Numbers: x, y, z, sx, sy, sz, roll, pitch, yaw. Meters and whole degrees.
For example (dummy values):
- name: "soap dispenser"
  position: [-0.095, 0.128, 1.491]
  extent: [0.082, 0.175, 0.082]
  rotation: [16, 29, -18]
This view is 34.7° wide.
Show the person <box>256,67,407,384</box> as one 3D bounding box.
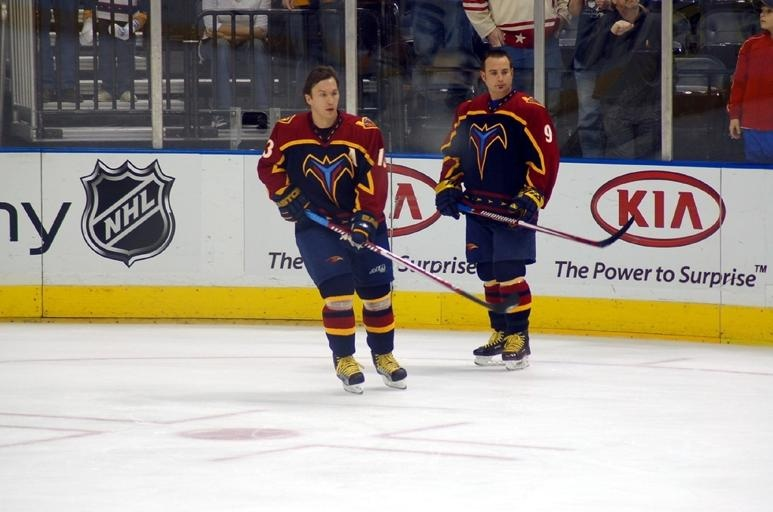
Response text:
- name: "person"
  position: [-0.237, -0.161, 7.367]
  extent: [0.612, 1.902, 0.797]
  rotation: [-10, 16, -40]

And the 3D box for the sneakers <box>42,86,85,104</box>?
- name: "sneakers"
  position: [-2.489, -1.238, 9.445]
  extent: [0.271, 0.126, 0.165]
  rotation: [0, 12, -7]

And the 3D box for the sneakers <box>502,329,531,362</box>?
- name: "sneakers"
  position: [0.845, 0.579, 8.004]
  extent: [0.165, 0.182, 0.262]
  rotation: [1, 11, 5]

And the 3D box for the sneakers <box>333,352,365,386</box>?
- name: "sneakers"
  position: [-0.203, 0.680, 7.255]
  extent: [0.107, 0.096, 0.243]
  rotation: [-21, 14, -17]

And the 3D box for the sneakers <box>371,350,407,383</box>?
- name: "sneakers"
  position: [0.013, 0.671, 7.452]
  extent: [0.104, 0.116, 0.279]
  rotation: [-33, 22, -9]

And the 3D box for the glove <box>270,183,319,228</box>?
- name: "glove"
  position: [-0.601, -0.297, 7.364]
  extent: [0.253, 0.227, 0.188]
  rotation: [-35, 15, -23]

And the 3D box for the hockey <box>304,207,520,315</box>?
- name: "hockey"
  position: [0.220, 0.028, 8.096]
  extent: [1.798, 0.064, 0.182]
  rotation: [21, -29, -1]

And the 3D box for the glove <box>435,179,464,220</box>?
- name: "glove"
  position: [0.412, -0.361, 8.039]
  extent: [0.205, 0.195, 0.100]
  rotation: [-11, -22, 6]

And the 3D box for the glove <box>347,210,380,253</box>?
- name: "glove"
  position: [-0.124, -0.155, 7.225]
  extent: [0.167, 0.199, 0.144]
  rotation: [-1, 12, -5]
